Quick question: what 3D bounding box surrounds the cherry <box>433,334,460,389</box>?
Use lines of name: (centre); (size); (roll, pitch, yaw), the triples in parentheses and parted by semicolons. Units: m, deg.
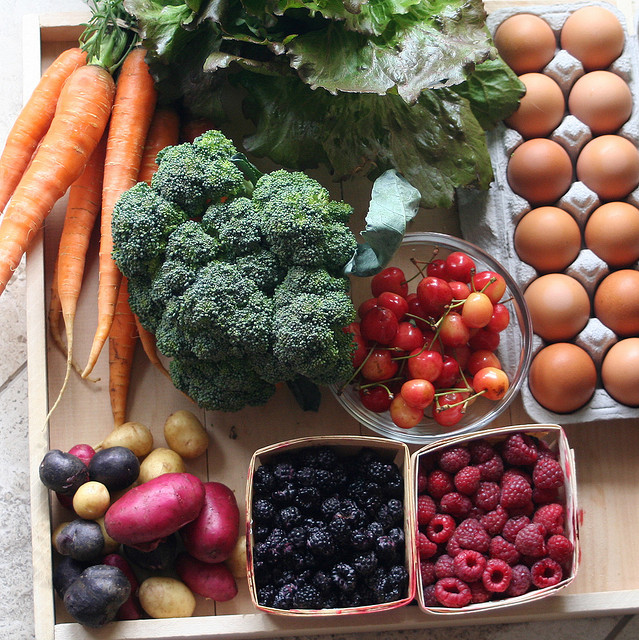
cherry: (0.245, 0.081, 1.367); (0.049, 0.046, 0.090); (19, 94, 34)

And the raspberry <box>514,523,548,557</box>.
raspberry: (0.404, 0.418, 1.269); (0.062, 0.055, 0.060); (2, 56, 10)

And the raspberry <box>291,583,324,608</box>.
raspberry: (-0.022, 0.509, 1.220); (0.044, 0.026, 0.045); (-1, 24, 1)

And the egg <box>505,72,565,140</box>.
egg: (0.468, -0.457, 1.433); (0.107, 0.111, 0.102); (22, 62, 22)

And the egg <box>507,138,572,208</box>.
egg: (0.468, -0.321, 1.441); (0.159, 0.143, 0.143); (-1, 88, 17)

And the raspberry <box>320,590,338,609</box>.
raspberry: (0.019, 0.525, 1.244); (0.029, 0.014, 0.027); (2, 96, -11)

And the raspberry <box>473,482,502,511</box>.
raspberry: (0.324, 0.344, 1.325); (0.061, 0.055, 0.038); (12, 103, -3)

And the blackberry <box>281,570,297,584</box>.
blackberry: (-0.057, 0.482, 1.248); (0.025, 0.007, 0.023); (3, 34, -14)

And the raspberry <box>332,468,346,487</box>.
raspberry: (0.038, 0.311, 1.311); (0.031, 0.018, 0.028); (0, 104, 3)

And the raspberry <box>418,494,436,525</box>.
raspberry: (0.207, 0.374, 1.309); (0.050, 0.053, 0.040); (-1, 102, 0)

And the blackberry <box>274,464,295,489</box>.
blackberry: (-0.071, 0.305, 1.302); (0.041, 0.018, 0.040); (7, 73, 4)

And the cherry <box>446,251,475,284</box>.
cherry: (0.286, -0.107, 1.362); (0.067, 0.064, 0.065); (-7, 107, -8)

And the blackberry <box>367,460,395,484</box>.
blackberry: (0.120, 0.298, 1.307); (0.045, 0.050, 0.022); (3, 75, -6)

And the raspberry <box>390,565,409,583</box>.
raspberry: (0.149, 0.476, 1.244); (0.029, 0.030, 0.023); (6, 74, 1)

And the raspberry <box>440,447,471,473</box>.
raspberry: (0.268, 0.279, 1.319); (0.063, 0.043, 0.042); (-1, 87, -13)

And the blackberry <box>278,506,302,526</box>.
blackberry: (-0.057, 0.374, 1.272); (0.039, 0.017, 0.038); (-34, 56, -17)

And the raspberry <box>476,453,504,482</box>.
raspberry: (0.334, 0.300, 1.327); (0.051, 0.052, 0.048); (3, 80, -1)

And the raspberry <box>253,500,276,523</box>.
raspberry: (-0.104, 0.367, 1.274); (0.041, 0.044, 0.033); (1, 79, -3)

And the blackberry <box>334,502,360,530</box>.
blackberry: (0.056, 0.372, 1.262); (0.043, 0.021, 0.045); (-2, 48, -10)

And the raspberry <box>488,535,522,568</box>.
raspberry: (0.351, 0.440, 1.269); (0.061, 0.057, 0.064); (-4, 20, 24)

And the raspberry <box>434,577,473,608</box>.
raspberry: (0.251, 0.516, 1.259); (0.063, 0.052, 0.055); (28, 64, 25)

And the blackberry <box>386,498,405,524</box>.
blackberry: (0.146, 0.370, 1.286); (0.036, 0.021, 0.037); (-5, 91, -5)

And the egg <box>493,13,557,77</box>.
egg: (0.442, -0.590, 1.436); (0.117, 0.091, 0.097); (-20, 55, -6)

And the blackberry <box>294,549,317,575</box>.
blackberry: (-0.027, 0.457, 1.256); (0.045, 0.024, 0.044); (-5, 100, -1)

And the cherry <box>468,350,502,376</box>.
cherry: (0.337, 0.085, 1.378); (0.057, 0.055, 0.049); (37, 51, -23)

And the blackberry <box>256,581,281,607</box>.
blackberry: (-0.098, 0.517, 1.253); (0.041, 0.018, 0.042); (7, 88, -1)

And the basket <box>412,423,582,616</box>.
basket: (0.391, 0.385, 1.433); (0.451, 0.119, 0.343); (-2, 85, -4)

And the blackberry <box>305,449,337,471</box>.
blackberry: (0.006, 0.278, 1.318); (0.055, 0.037, 0.022); (-2, 69, 20)

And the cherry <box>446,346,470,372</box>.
cherry: (0.284, 0.083, 1.403); (0.057, 0.049, 0.042); (2, 85, -3)

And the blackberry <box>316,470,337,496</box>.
blackberry: (0.011, 0.318, 1.298); (0.045, 0.045, 0.040); (0, 81, 3)

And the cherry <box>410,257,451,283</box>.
cherry: (0.241, -0.108, 1.426); (0.049, 0.114, 0.043); (-20, 70, 43)

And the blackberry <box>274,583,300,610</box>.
blackberry: (-0.059, 0.512, 1.227); (0.044, 0.024, 0.044); (2, 110, -2)

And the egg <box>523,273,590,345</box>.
egg: (0.496, -0.023, 1.420); (0.159, 0.141, 0.141); (5, 82, -22)

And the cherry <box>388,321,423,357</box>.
cherry: (0.176, 0.039, 1.341); (0.083, 0.075, 0.075); (-1, 90, 4)

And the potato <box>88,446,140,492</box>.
potato: (-0.406, 0.295, 1.322); (0.087, 0.102, 0.069); (-4, 75, -24)

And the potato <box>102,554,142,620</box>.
potato: (-0.402, 0.531, 1.358); (0.076, 0.054, 0.129); (-3, 79, -21)

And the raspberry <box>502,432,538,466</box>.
raspberry: (0.395, 0.256, 1.316); (0.077, 0.071, 0.066); (-2, 81, 3)

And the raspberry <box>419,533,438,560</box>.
raspberry: (0.208, 0.438, 1.285); (0.040, 0.021, 0.042); (-5, 106, 10)

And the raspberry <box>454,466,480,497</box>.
raspberry: (0.290, 0.316, 1.302); (0.052, 0.057, 0.043); (1, 82, 0)

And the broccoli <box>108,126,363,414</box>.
broccoli: (-0.165, -0.080, 1.398); (0.577, 0.315, 0.536); (-5, 89, -4)

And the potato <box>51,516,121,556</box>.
potato: (-0.461, 0.439, 1.363); (0.143, 0.099, 0.062); (1, 59, -11)

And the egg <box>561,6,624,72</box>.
egg: (0.590, -0.610, 1.450); (0.118, 0.103, 0.106); (-11, 55, 1)

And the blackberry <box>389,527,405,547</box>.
blackberry: (0.147, 0.414, 1.268); (0.034, 0.035, 0.028); (2, 85, 2)

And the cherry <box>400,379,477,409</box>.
cherry: (0.230, 0.141, 1.308); (0.143, 0.058, 0.044); (-4, 96, -4)

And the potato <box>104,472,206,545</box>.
potato: (-0.305, 0.355, 1.294); (0.202, 0.106, 0.089); (-19, 90, -14)

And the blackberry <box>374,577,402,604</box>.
blackberry: (0.127, 0.504, 1.236); (0.046, 0.046, 0.022); (3, 38, -6)

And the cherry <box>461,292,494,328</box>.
cherry: (0.311, -0.017, 1.314); (0.077, 0.069, 0.071); (3, 78, 3)

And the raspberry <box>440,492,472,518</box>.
raspberry: (0.268, 0.363, 1.308); (0.060, 0.045, 0.030); (14, 72, -33)

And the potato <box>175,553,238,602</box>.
potato: (-0.217, 0.510, 1.342); (0.137, 0.071, 0.063); (21, 70, -1)
